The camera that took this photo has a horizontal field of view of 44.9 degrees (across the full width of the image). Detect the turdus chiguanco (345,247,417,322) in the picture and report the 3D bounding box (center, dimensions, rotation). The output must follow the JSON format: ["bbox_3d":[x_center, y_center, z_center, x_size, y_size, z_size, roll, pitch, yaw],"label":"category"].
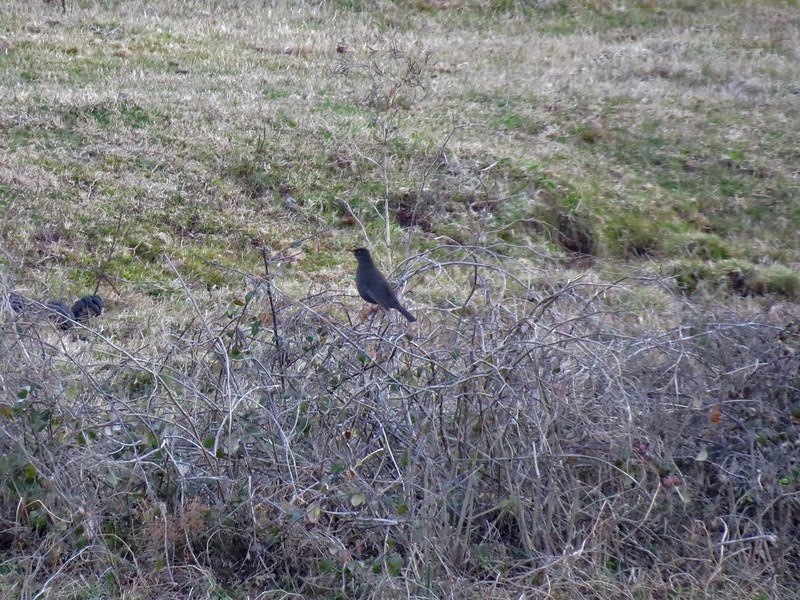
[{"bbox_3d":[-0.167,-0.109,8.122,0.725,0.478,0.240,26,30,10],"label":"turdus chiguanco"}]

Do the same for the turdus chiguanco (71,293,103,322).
[{"bbox_3d":[-2.910,0.119,9.013,0.282,0.212,0.503,-3,27,-18],"label":"turdus chiguanco"}]
